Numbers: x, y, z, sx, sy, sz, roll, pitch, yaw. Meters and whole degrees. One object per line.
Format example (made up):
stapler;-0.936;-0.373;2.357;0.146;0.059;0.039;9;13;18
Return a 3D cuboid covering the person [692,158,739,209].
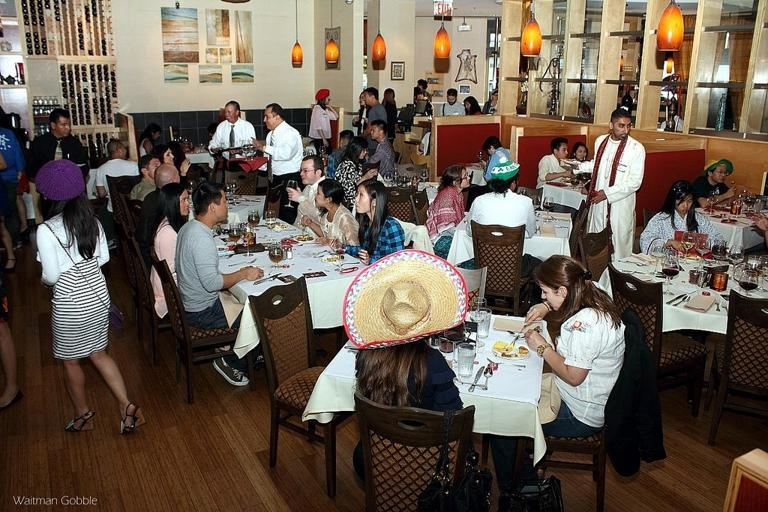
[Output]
person;4.523;-0.878;6.878;0.522;0.912;0.438;12;15;40

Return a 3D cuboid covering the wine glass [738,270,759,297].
wine glass;3.003;0.220;4.110;0.175;0.207;0.338;0;-3;23

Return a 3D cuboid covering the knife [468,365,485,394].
knife;0.570;0.763;3.086;0.044;0.017;0.347;0;22;22

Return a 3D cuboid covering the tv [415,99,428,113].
tv;0.919;-3.729;12.410;0.315;0.335;0.084;10;12;32

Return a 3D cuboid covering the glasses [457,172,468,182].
glasses;0.955;-0.945;6.015;0.116;0.045;0.123;-2;26;3

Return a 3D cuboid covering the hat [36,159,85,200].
hat;-2.358;-0.545;3.618;0.298;0.317;0.112;-10;2;-9

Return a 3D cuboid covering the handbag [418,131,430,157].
handbag;0.899;-2.475;11.006;0.136;0.447;0.325;7;7;-13

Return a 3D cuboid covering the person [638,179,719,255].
person;3.031;-0.180;5.062;0.662;1.009;0.525;-2;18;26

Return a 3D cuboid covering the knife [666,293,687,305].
knife;2.366;0.349;4.038;0.078;0.018;0.298;14;30;38

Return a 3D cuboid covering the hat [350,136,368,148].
hat;-0.358;-1.648;7.099;0.231;0.217;0.188;-5;57;8

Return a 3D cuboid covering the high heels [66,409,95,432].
high heels;-2.489;1.350;4.112;0.237;0.184;0.139;-2;8;-17

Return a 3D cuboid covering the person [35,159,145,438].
person;-2.327;0.379;3.854;0.592;2.180;0.340;-7;17;-23

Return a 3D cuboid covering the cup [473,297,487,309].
cup;0.746;0.358;3.897;0.097;0.103;0.098;0;14;0

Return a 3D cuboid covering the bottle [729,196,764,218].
bottle;4.551;-0.610;6.259;0.314;0.330;0.319;-3;5;-30

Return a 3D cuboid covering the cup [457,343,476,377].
cup;0.512;0.667;3.169;0.112;0.186;0.119;4;-5;0

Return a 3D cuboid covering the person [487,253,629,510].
person;1.025;0.762;3.216;0.910;1.506;0.715;-11;19;-34

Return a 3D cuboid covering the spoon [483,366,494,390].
spoon;0.643;0.750;3.119;0.040;0.026;0.182;-1;46;15

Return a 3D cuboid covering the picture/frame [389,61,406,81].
picture/frame;0.310;-4.782;12.819;0.428;0.514;0.033;-12;30;-32

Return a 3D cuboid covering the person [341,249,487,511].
person;0.178;0.768;2.753;0.821;1.581;0.664;2;16;6

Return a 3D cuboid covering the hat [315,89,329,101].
hat;-1.464;-3.901;11.868;0.292;0.155;0.421;-14;26;9

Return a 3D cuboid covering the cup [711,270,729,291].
cup;2.812;0.204;4.218;0.142;0.148;0.147;0;9;0

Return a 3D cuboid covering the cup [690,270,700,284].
cup;2.665;0.179;4.294;0.087;0.104;0.093;1;10;0

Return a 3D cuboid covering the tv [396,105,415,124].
tv;0.566;-3.471;12.323;0.405;0.538;0.458;11;31;24

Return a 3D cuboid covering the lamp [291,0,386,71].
lamp;-1.290;-5.337;11.564;1.687;1.763;4.988;-3;17;-10
